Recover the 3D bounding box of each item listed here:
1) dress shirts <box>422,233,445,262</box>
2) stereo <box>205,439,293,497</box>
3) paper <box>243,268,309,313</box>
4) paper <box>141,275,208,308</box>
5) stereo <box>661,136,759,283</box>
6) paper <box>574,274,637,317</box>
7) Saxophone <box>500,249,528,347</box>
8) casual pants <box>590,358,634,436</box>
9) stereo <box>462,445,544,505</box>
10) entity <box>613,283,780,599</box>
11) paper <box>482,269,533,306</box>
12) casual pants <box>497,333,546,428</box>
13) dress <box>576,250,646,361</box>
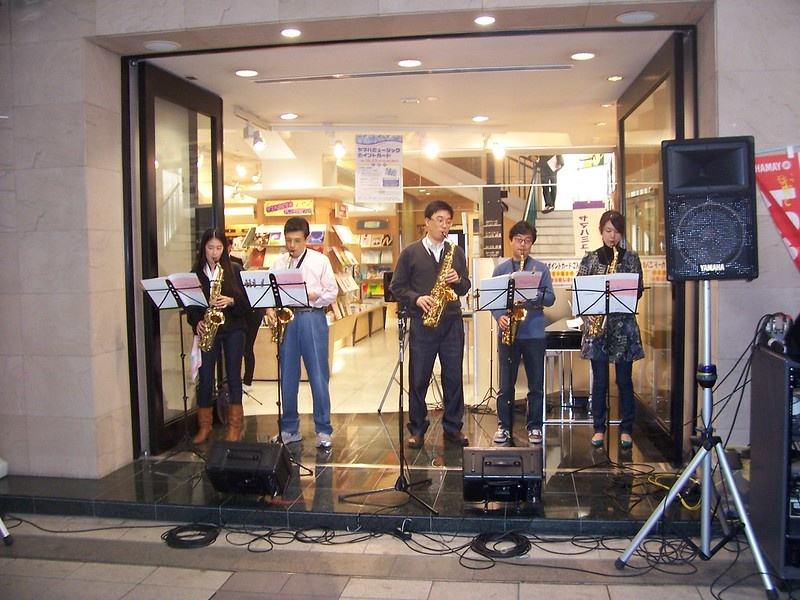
[{"bbox_3d":[0.298,-0.437,5.760,0.253,0.241,0.136,-1,0,-13],"label":"dress shirts"},{"bbox_3d":[-1.092,1.241,4.975,0.587,0.403,0.411,-3,-25,8],"label":"stereo"},{"bbox_3d":[-0.954,-0.077,5.314,0.445,0.299,0.036,-2,36,20],"label":"paper"},{"bbox_3d":[-1.842,-0.062,5.474,0.340,0.248,0.025,-6,43,15],"label":"paper"},{"bbox_3d":[1.882,-0.547,4.094,0.538,0.868,0.234,0,4,18],"label":"stereo"},{"bbox_3d":[1.587,-0.043,5.182,0.328,0.234,0.037,-2,25,9],"label":"paper"},{"bbox_3d":[0.971,0.083,5.641,0.142,0.584,0.186,-26,28,-38],"label":"Saxophone"},{"bbox_3d":[1.874,0.826,5.915,0.347,0.220,0.931,-3,48,19],"label":"casual pants"},{"bbox_3d":[0.749,1.214,4.817,0.436,0.294,0.435,0,4,5],"label":"stereo"},{"bbox_3d":[1.962,0.797,4.361,0.910,1.852,0.871,1,5,29],"label":"entity"},{"bbox_3d":[0.861,-0.084,5.274,0.279,0.180,0.060,-15,0,7],"label":"paper"},{"bbox_3d":[1.092,0.722,5.982,0.419,0.932,0.255,3,4,17],"label":"casual pants"},{"bbox_3d":[1.825,0.035,5.827,0.533,0.962,0.394,-2,25,2],"label":"dress"}]
